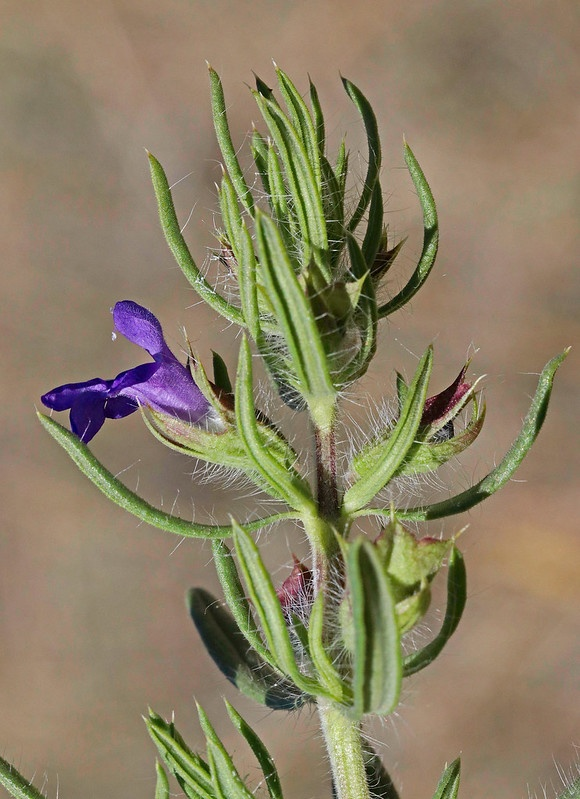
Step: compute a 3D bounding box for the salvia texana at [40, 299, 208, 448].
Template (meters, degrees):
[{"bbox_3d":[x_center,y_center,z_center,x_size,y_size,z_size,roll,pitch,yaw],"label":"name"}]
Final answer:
[{"bbox_3d":[-0.295,-0.047,1.548,0.311,0.122,0.249,6,60,43],"label":"salvia texana"}]
